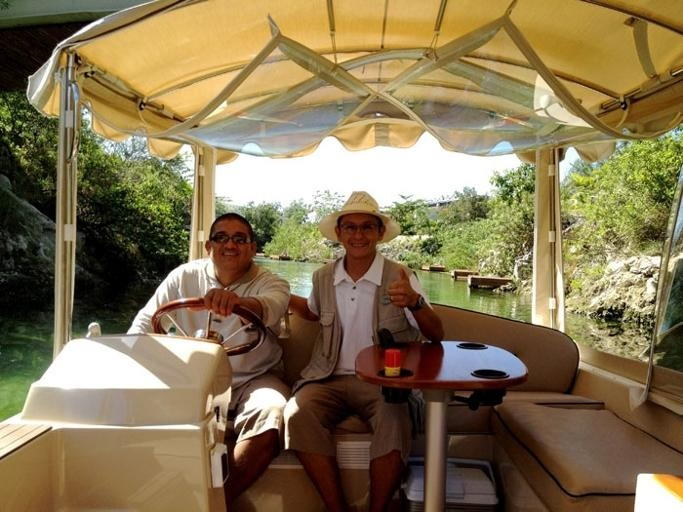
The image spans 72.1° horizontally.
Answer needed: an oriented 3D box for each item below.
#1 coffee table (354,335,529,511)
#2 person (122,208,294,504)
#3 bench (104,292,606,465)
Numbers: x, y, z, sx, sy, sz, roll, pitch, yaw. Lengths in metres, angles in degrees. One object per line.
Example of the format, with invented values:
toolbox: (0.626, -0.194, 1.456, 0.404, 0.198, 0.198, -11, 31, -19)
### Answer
coffee table: (0.493, 0.884, 2.472, 0.814, 0.923, 0.762, 2, -4, -7)
person: (-0.673, 0.528, 2.723, 0.911, 1.580, 1.154, -2, 2, -24)
bench: (0.337, 1.121, 3.959, 3.040, 1.117, 1.023, -6, -1, 24)
